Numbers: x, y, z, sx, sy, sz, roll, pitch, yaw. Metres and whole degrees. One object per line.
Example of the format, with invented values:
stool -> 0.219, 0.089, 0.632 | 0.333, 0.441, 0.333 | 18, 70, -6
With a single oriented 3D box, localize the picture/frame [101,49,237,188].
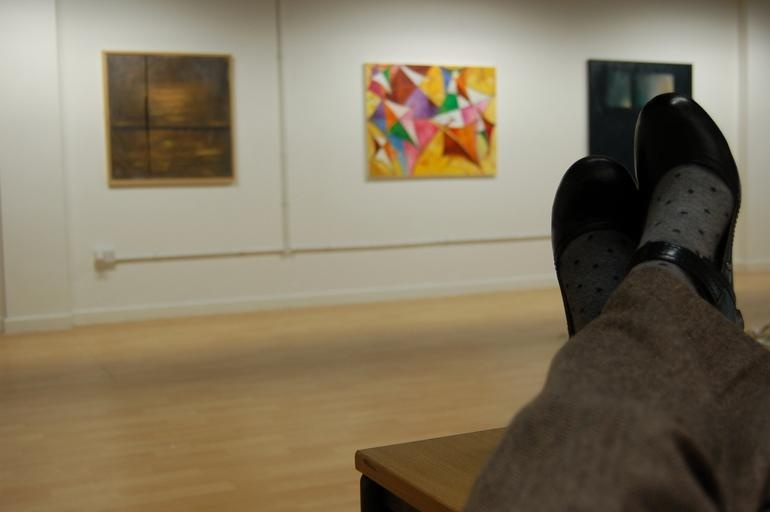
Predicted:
picture/frame -> -0.746, -0.500, 2.156 | 0.422, 0.435, 0.420 | -4, 39, -22
